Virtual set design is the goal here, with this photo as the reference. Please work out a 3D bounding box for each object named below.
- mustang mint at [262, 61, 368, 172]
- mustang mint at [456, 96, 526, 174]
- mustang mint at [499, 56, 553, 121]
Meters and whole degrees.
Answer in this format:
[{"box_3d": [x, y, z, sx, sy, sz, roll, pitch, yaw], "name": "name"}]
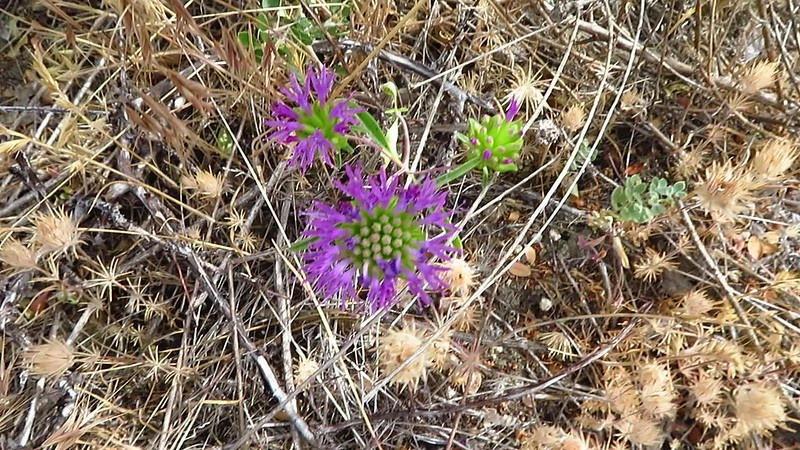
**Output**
[{"box_3d": [-0.466, -0.616, 3.674, 0.246, 0.540, 0.578, 49, 37, -11], "name": "mustang mint"}, {"box_3d": [0.485, -0.480, 3.882, 0.371, 0.382, 0.206, -8, 89, -23], "name": "mustang mint"}, {"box_3d": [0.796, -0.879, 4.266, 0.143, 0.355, 0.359, -5, 58, -13], "name": "mustang mint"}]
